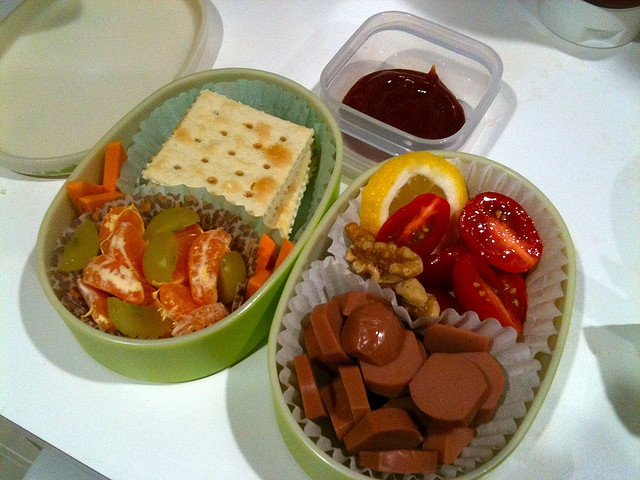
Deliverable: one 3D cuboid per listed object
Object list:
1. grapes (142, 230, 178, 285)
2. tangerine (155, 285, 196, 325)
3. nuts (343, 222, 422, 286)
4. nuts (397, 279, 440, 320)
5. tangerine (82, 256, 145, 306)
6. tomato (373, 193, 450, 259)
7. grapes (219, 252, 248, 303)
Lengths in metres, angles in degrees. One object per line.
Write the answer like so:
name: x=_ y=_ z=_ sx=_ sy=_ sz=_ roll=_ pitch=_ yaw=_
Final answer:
grapes: x=-0.524 y=0.057 z=1.775 sx=0.115 sy=0.077 sz=0.165 roll=0 pitch=67 yaw=-1
tangerine: x=-0.464 y=0.199 z=1.788 sx=0.166 sy=0.109 sz=0.093 roll=-25 pitch=45 yaw=-39
nuts: x=0.173 y=0.061 z=1.719 sx=0.276 sy=0.137 sz=0.128 roll=34 pitch=70 yaw=12
nuts: x=0.292 y=0.183 z=1.693 sx=0.146 sy=0.054 sz=0.088 roll=46 pitch=63 yaw=7
tangerine: x=-0.657 y=0.127 z=1.767 sx=0.201 sy=0.095 sz=0.111 roll=21 pitch=68 yaw=7
tomato: x=0.281 y=-0.043 z=1.734 sx=0.140 sy=0.099 sz=0.222 roll=-21 pitch=41 yaw=-36
grapes: x=-0.299 y=0.128 z=1.845 sx=0.087 sy=0.112 sz=0.147 roll=15 pitch=54 yaw=-38
